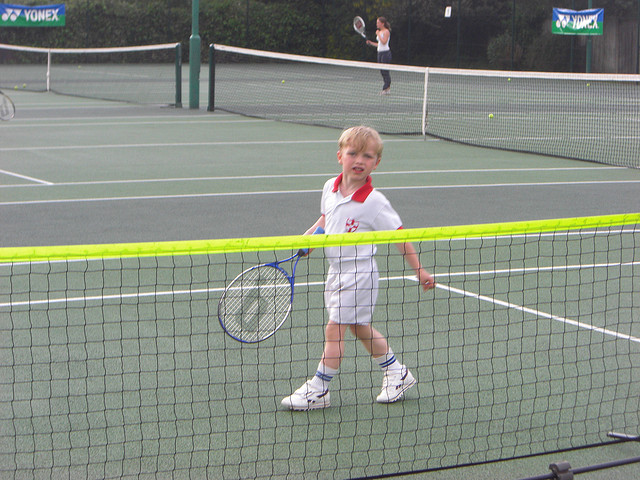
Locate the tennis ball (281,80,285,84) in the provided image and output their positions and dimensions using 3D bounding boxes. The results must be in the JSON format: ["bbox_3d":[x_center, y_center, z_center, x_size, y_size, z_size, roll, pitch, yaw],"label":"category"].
[{"bbox_3d":[-1.289,-5.452,31.364,0.097,0.157,0.039,-2,-24,2],"label":"tennis ball"}]

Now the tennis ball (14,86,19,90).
[{"bbox_3d":[-10.084,-5.061,30.359,0.069,0.150,0.193,-4,12,-9],"label":"tennis ball"}]

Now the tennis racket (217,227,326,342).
[{"bbox_3d":[-0.432,0.405,7.455,1.324,0.517,0.073,-47,2,9],"label":"tennis racket"}]

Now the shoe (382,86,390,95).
[{"bbox_3d":[1.856,-4.248,25.948,0.085,0.307,0.079,8,30,-33],"label":"shoe"}]

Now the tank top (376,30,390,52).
[{"bbox_3d":[1.796,-5.712,26.138,0.296,0.651,0.775,0,16,1],"label":"tank top"}]

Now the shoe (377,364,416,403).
[{"bbox_3d":[0.583,1.146,7.252,0.418,0.225,0.138,-25,7,-40],"label":"shoe"}]

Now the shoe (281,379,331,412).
[{"bbox_3d":[-0.093,1.228,7.143,0.417,0.237,0.160,-1,-4,-25],"label":"shoe"}]

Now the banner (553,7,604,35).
[{"bbox_3d":[7.861,-6.692,27.880,0.693,0.815,2.004,-7,18,-25],"label":"banner"}]
